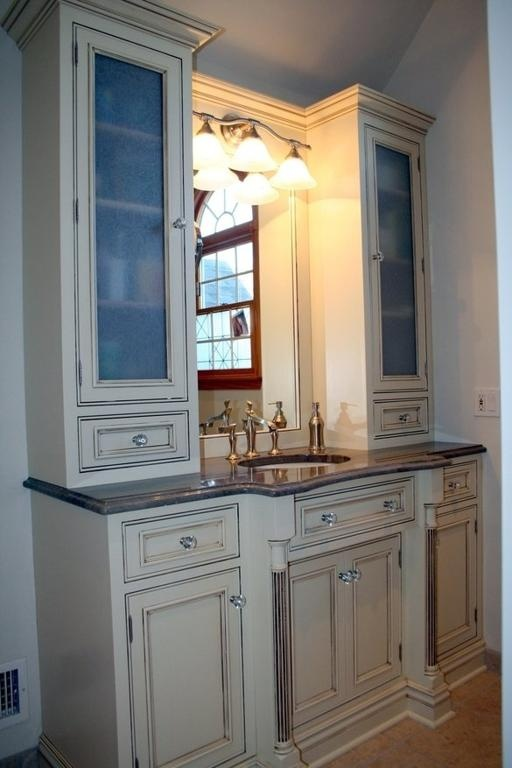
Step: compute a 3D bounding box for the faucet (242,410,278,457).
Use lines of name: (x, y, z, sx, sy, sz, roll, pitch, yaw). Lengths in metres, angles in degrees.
faucet: (0.012, 0.173, 2.108, 0.103, 0.163, 0.238, -3, 0, 25)

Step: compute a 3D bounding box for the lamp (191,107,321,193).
lamp: (-0.026, -0.780, 2.042, 0.469, 0.316, 0.179, 4, -1, -23)

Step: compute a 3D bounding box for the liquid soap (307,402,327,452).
liquid soap: (0.216, 0.163, 2.184, 0.056, 0.185, 0.087, -3, 0, 5)

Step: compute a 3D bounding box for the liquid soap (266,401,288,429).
liquid soap: (0.084, 0.116, 2.212, 0.078, 0.138, 0.083, -1, 2, -17)

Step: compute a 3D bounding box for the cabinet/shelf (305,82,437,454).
cabinet/shelf: (0.483, -0.428, 2.297, 0.505, 1.372, 0.327, -3, 0, -18)
